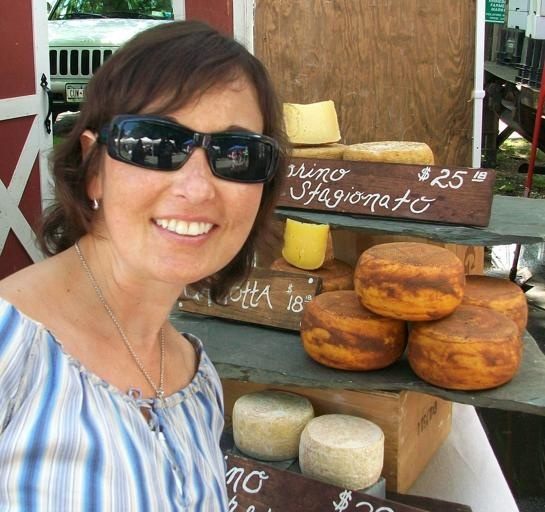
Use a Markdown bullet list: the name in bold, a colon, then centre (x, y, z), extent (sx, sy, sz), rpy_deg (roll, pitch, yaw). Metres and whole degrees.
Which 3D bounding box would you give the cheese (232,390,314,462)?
- **cheese**: centre (-0.012, 0.502, 1.451), extent (0.199, 0.100, 0.189), rpy_deg (5, 9, 21)

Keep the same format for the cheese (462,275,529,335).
- **cheese**: centre (0.726, 0.163, 1.620), extent (0.208, 0.110, 0.205), rpy_deg (13, 32, 37)

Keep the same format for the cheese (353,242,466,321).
- **cheese**: centre (0.380, 0.060, 1.351), extent (0.261, 0.125, 0.243), rpy_deg (1, 23, 4)

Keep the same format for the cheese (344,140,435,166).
- **cheese**: centre (0.479, -0.429, 2.014), extent (0.363, 0.066, 0.392), rpy_deg (6, 22, 15)

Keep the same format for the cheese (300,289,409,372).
- **cheese**: centre (0.195, 0.194, 1.522), extent (0.318, 0.199, 0.376), rpy_deg (-5, 16, -6)

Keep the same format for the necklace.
- **necklace**: centre (-0.238, 0.092, 0.904), extent (0.173, 0.260, 0.186), rpy_deg (19, 25, 33)

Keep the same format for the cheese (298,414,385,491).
- **cheese**: centre (0.196, 0.546, 1.384), extent (0.235, 0.120, 0.224), rpy_deg (6, 11, 21)

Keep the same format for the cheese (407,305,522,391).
- **cheese**: centre (0.541, 0.261, 1.362), extent (0.277, 0.170, 0.222), rpy_deg (-7, 23, -16)
